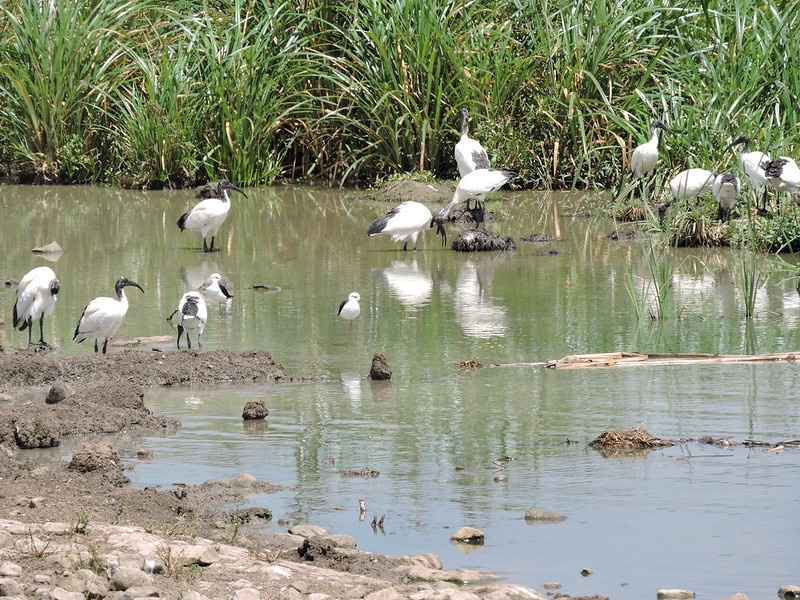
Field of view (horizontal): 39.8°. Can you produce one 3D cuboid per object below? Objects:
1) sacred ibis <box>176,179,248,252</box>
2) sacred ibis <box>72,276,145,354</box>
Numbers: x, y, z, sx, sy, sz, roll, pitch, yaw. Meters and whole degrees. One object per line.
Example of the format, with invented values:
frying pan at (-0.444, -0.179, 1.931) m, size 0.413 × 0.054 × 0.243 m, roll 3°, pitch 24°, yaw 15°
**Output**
sacred ibis at (-2.913, -1.317, 17.275) m, size 1.221 × 1.122 × 0.518 m, roll 0°, pitch 3°, yaw 18°
sacred ibis at (-2.785, 0.209, 10.646) m, size 0.634 × 0.835 × 0.415 m, roll 2°, pitch 1°, yaw 8°
